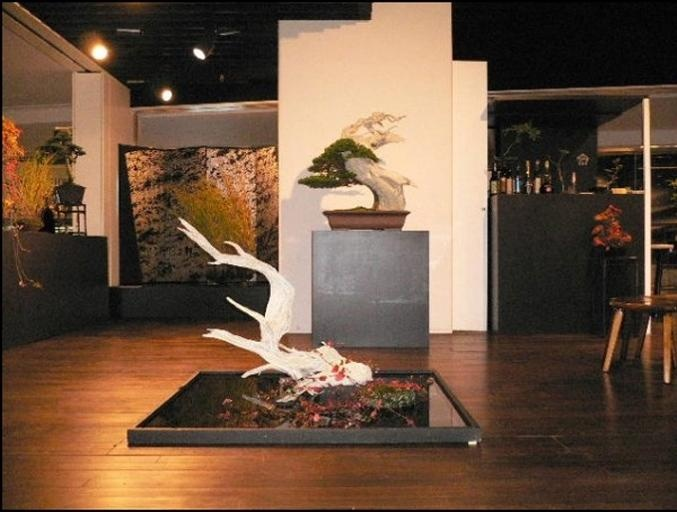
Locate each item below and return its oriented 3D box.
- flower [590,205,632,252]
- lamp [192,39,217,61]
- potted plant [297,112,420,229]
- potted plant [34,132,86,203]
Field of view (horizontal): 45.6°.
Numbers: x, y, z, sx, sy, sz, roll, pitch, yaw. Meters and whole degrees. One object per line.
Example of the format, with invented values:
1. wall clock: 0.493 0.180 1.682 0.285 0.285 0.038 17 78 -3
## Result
1. flower: 2.468 -0.241 7.285 0.417 0.525 0.288 0 -4 -1
2. lamp: -1.289 -1.983 7.708 0.242 0.139 0.226 -21 28 10
3. potted plant: 0.140 -0.746 6.966 0.954 1.030 0.760 0 3 -8
4. potted plant: -2.814 -0.907 8.181 0.430 0.792 0.536 -1 3 -18
